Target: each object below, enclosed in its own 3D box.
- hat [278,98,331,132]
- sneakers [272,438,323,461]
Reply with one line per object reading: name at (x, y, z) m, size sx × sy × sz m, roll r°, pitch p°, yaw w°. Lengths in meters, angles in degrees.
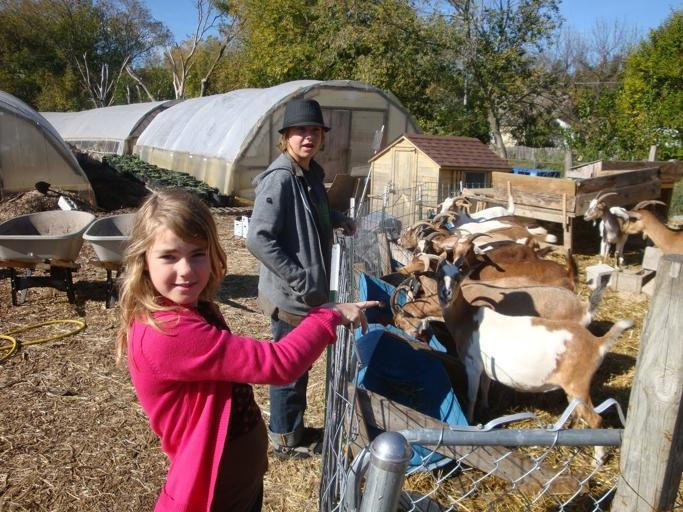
hat at (-0.286, -1.107, 3.876) m, size 0.280 × 0.169 × 0.318 m, roll 0°, pitch 7°, yaw -7°
sneakers at (-0.356, 1.584, 4.132) m, size 0.337 × 0.149 × 0.166 m, roll -4°, pitch 8°, yaw -4°
